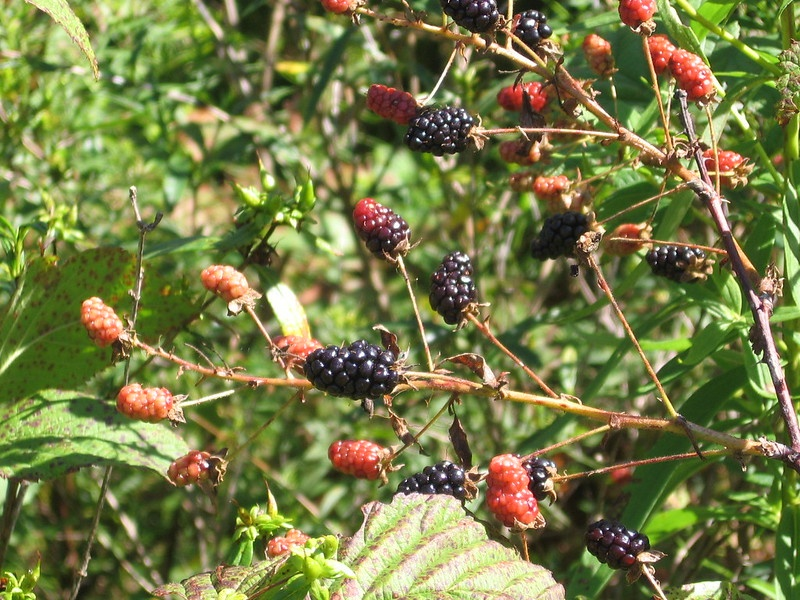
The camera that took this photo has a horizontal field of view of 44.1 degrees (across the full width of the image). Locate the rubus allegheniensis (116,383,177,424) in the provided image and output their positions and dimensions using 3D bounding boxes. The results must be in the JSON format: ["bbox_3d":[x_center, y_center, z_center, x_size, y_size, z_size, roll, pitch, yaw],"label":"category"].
[{"bbox_3d":[-0.709,0.278,2.779,0.142,0.101,0.087,8,12,-1],"label":"rubus allegheniensis"}]

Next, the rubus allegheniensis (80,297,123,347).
[{"bbox_3d":[-0.839,0.063,2.771,0.128,0.076,0.076,17,21,-39],"label":"rubus allegheniensis"}]

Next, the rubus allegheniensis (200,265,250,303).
[{"bbox_3d":[-0.499,-0.054,2.870,0.138,0.076,0.091,26,92,23],"label":"rubus allegheniensis"}]

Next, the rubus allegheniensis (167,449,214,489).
[{"bbox_3d":[-0.580,0.459,2.791,0.125,0.072,0.086,-25,86,-4],"label":"rubus allegheniensis"}]
